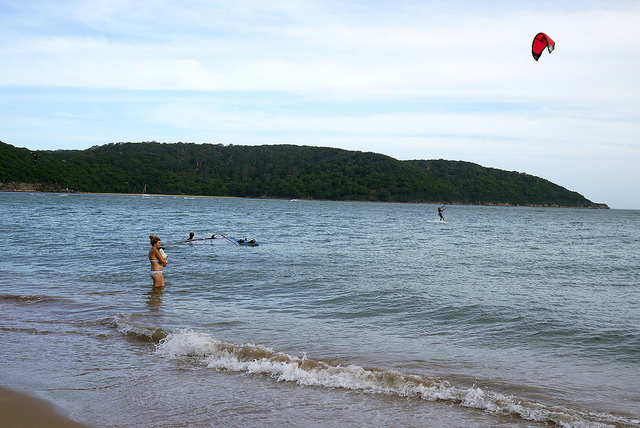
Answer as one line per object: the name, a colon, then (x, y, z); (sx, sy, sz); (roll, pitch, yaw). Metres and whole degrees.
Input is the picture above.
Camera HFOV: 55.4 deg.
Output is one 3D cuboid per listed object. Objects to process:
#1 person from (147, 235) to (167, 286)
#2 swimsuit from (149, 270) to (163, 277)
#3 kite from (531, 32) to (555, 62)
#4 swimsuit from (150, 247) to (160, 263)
person: (-6.175, 1.737, 23.070); (0.604, 1.858, 1.146); (3, 3, -16)
swimsuit: (-6.165, 2.258, 22.896); (0.448, 0.146, 0.407); (-9, -9, 7)
kite: (9.360, -7.060, 25.708); (0.794, 1.129, 0.943); (4, 3, 17)
swimsuit: (-6.123, 1.517, 22.626); (0.286, 0.586, 0.241); (2, 4, -24)
